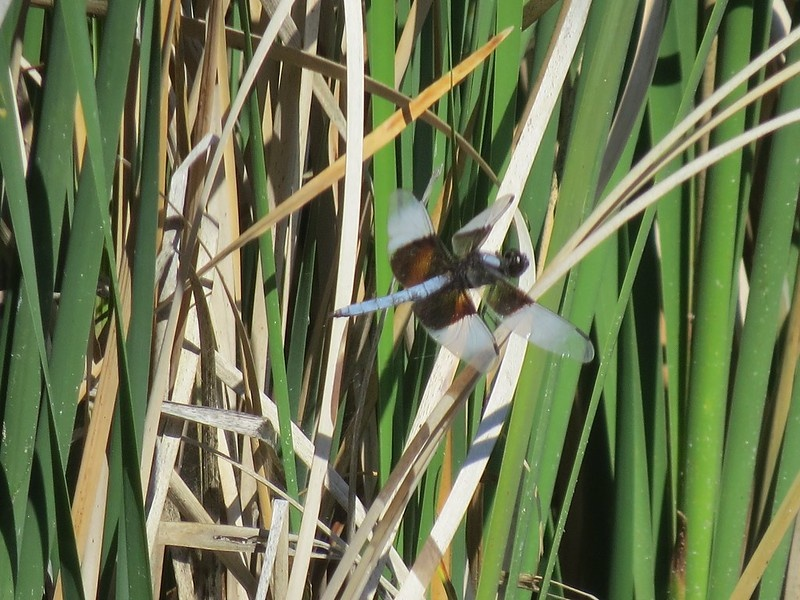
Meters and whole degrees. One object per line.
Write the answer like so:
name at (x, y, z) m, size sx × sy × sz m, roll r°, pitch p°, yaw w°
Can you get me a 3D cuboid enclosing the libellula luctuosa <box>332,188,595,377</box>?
libellula luctuosa at (0.088, 0.014, 2.607) m, size 0.268 × 0.382 × 0.065 m, roll -24°, pitch -31°, yaw -4°
